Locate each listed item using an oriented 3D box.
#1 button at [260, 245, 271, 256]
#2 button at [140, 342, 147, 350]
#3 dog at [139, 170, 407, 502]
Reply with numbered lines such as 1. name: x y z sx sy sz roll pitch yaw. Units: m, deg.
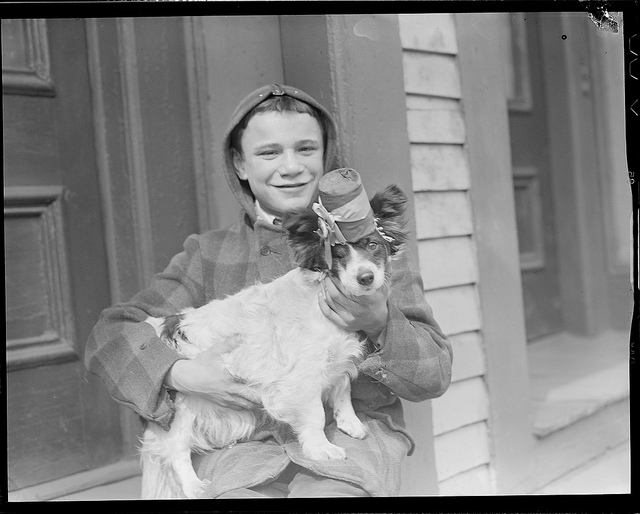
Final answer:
1. button: -0.260 -0.033 2.959 0.049 0.043 0.016 -8 3 5
2. button: -0.823 0.414 2.935 0.024 0.034 0.012 -1 -13 14
3. dog: -0.271 0.401 3.133 1.581 1.196 0.565 -14 -7 34
